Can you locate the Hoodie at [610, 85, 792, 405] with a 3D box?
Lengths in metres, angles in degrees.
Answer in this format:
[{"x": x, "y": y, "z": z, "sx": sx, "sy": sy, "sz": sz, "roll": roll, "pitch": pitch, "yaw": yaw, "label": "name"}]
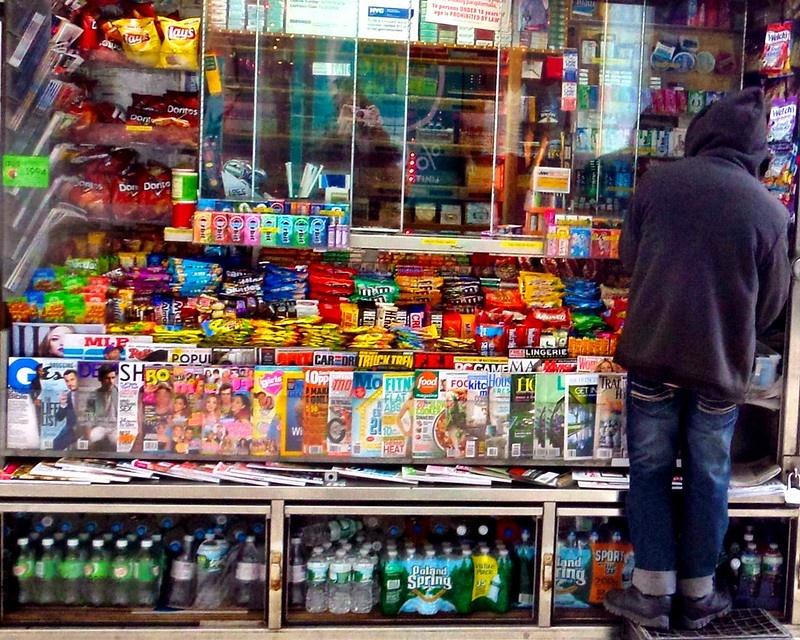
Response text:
[{"x": 1.133, "y": -0.275, "z": 3.545, "sx": 0.657, "sy": 1.164, "sz": 0.291, "roll": -2, "pitch": 3, "yaw": 10, "label": "Hoodie"}]
